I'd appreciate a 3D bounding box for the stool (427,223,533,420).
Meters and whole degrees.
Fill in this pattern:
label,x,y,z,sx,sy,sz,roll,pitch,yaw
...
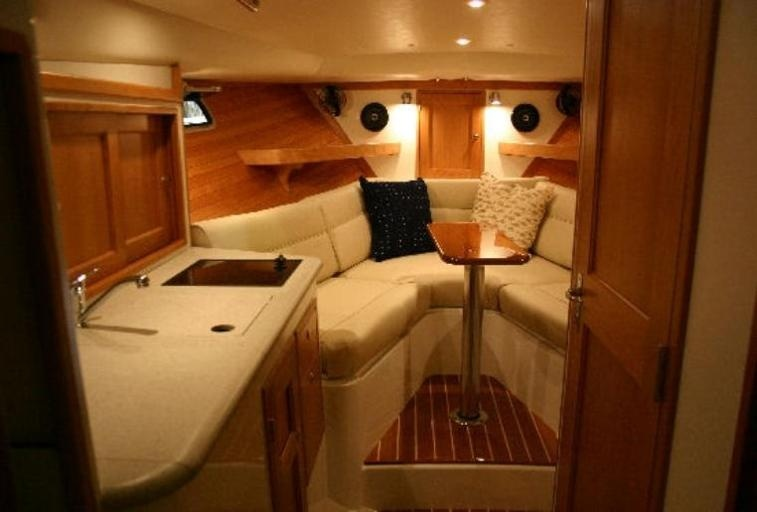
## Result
label,x,y,z,sx,sy,sz,roll,pitch,yaw
stool,0.588,0.422,3.255,0.421,0.852,0.923,-2,16,-1

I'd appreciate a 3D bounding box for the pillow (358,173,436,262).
label,x,y,z,sx,sy,sz,roll,pitch,yaw
pillow,0.107,-0.274,4.058,0.616,0.590,0.175,-10,2,-38

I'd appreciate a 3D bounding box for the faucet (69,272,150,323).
label,x,y,z,sx,sy,sz,roll,pitch,yaw
faucet,-0.831,0.120,1.745,0.197,0.152,0.174,-5,16,-27

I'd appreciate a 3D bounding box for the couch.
label,x,y,z,sx,sy,sz,roll,pitch,yaw
couch,0.024,0.151,3.324,1.692,0.736,1.584,4,14,19
